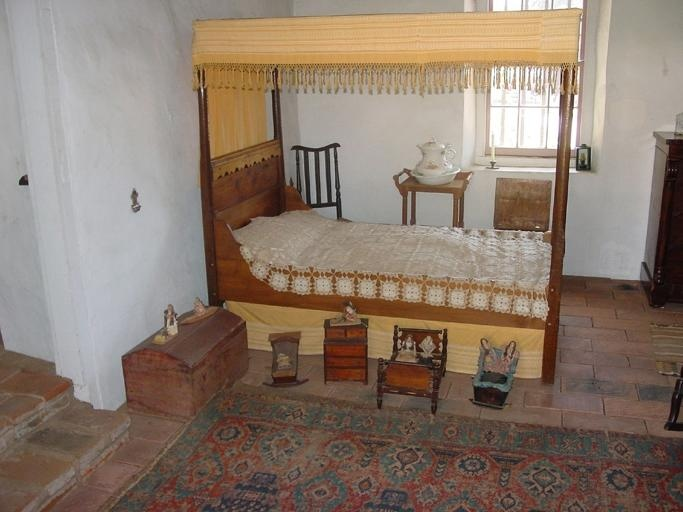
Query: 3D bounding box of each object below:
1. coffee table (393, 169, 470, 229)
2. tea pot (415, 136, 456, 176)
[{"bbox_3d":[1.240,-0.787,7.203,0.732,0.832,0.489,4,29,15],"label":"coffee table"},{"bbox_3d":[1.206,-1.262,6.983,0.553,0.550,0.442,2,19,6],"label":"tea pot"}]
